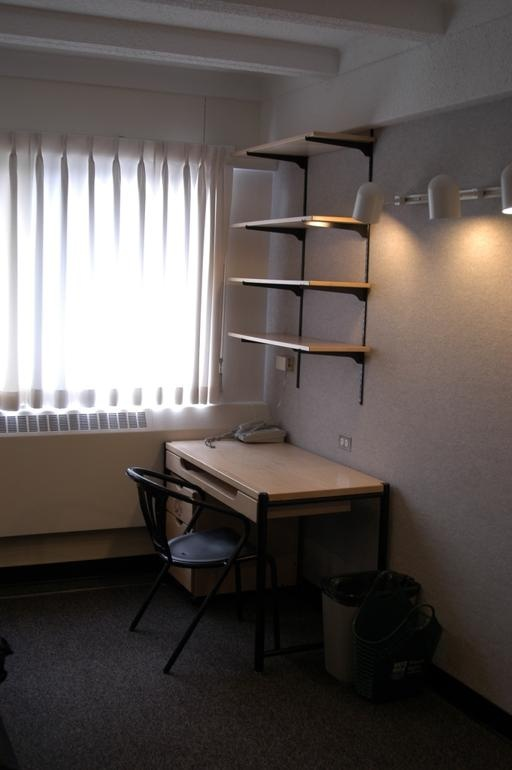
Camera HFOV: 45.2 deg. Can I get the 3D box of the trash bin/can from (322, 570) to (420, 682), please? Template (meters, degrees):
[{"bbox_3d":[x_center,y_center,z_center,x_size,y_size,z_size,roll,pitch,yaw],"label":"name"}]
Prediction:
[{"bbox_3d":[0.434,0.943,2.389,0.323,0.358,0.204,1,6,-15],"label":"trash bin/can"}]

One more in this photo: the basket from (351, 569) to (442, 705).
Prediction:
[{"bbox_3d":[0.463,0.893,2.270,0.349,0.386,0.321,-1,8,-15],"label":"basket"}]

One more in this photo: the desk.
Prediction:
[{"bbox_3d":[0.007,0.657,2.931,0.553,0.626,1.188,0,5,-25],"label":"desk"}]

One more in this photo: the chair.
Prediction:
[{"bbox_3d":[-0.212,0.744,2.624,0.558,0.775,0.509,-1,3,-14],"label":"chair"}]
